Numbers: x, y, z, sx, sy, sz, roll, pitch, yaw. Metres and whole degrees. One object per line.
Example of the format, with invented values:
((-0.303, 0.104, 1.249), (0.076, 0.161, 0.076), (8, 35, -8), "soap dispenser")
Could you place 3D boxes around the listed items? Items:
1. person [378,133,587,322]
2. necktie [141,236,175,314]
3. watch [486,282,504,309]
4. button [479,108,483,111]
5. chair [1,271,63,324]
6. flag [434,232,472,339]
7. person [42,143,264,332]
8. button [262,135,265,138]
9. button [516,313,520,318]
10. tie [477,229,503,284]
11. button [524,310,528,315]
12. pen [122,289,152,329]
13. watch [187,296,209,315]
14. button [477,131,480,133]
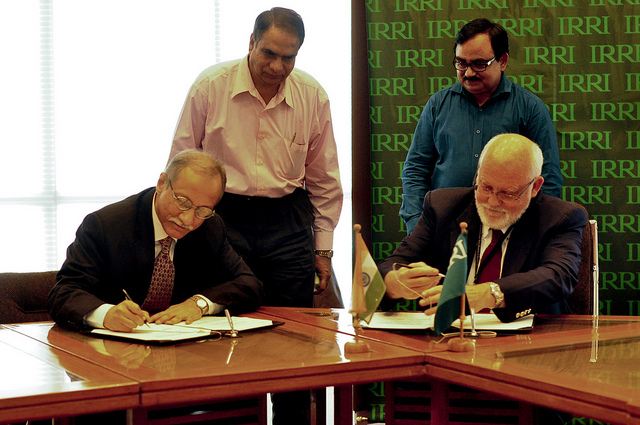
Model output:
((0.860, 0.047, 3.164), (0.861, 0.894, 0.756), (1, 7, 32), "person")
((-0.839, 0.325, 3.143), (0.185, 0.395, 0.080), (-5, 6, -16), "necktie")
((0.836, 0.393, 2.873), (0.060, 0.116, 0.074), (-3, 6, -1), "watch")
((1.095, -0.699, 4.095), (0.021, 0.019, 0.020), (2, -5, 0), "button")
((-1.563, 0.428, 3.433), (0.334, 0.340, 0.349), (2, 3, -16), "chair")
((0.573, 0.322, 2.637), (0.151, 0.471, 0.106), (-2, 6, 5), "flag")
((-0.955, 0.137, 3.462), (0.922, 1.239, 0.737), (13, 6, -42), "person")
((-0.361, -0.493, 3.892), (0.021, 0.011, 0.020), (-3, 1, 0), "button")
((0.948, 0.488, 2.886), (0.016, 0.030, 0.035), (-1, 6, 14), "button")
((0.903, 0.216, 3.217), (0.150, 0.064, 0.584), (-26, -36, -3), "tie")
((0.992, 0.474, 2.902), (0.016, 0.030, 0.039), (-1, 6, 14), "button")
((-0.867, 0.451, 2.856), (0.026, 0.194, 0.021), (-40, -9, 1), "pen")
((-0.609, 0.465, 3.039), (0.092, 0.076, 0.069), (-2, 6, 4), "watch")
((1.071, -0.545, 4.075), (0.016, 0.015, 0.005), (0, -1, 2), "button")
